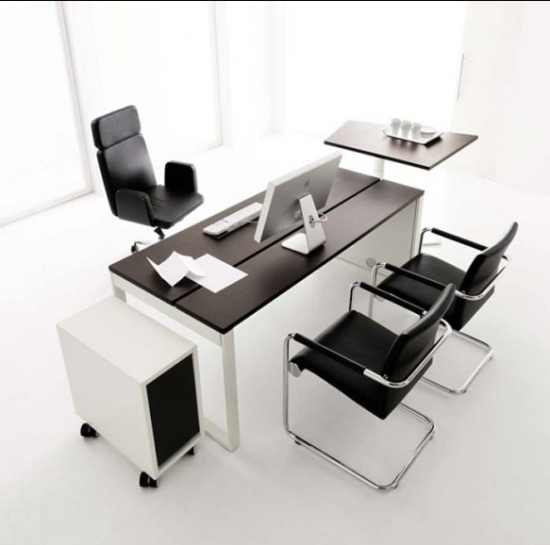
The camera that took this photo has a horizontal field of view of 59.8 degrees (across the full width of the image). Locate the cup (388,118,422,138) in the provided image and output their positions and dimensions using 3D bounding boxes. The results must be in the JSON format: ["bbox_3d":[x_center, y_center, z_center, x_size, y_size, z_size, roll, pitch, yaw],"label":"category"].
[{"bbox_3d":[0.944,-1.059,3.464,0.188,0.159,0.132,15,33,28],"label":"cup"}]

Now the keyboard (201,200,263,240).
[{"bbox_3d":[-0.232,-0.348,2.744,0.146,0.058,0.467,18,34,34],"label":"keyboard"}]

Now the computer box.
[{"bbox_3d":[-0.660,0.543,2.228,0.542,0.669,0.348,23,36,27],"label":"computer box"}]

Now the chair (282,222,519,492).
[{"bbox_3d":[0.649,0.466,2.492,0.410,0.676,0.949,19,39,28],"label":"chair"}]
